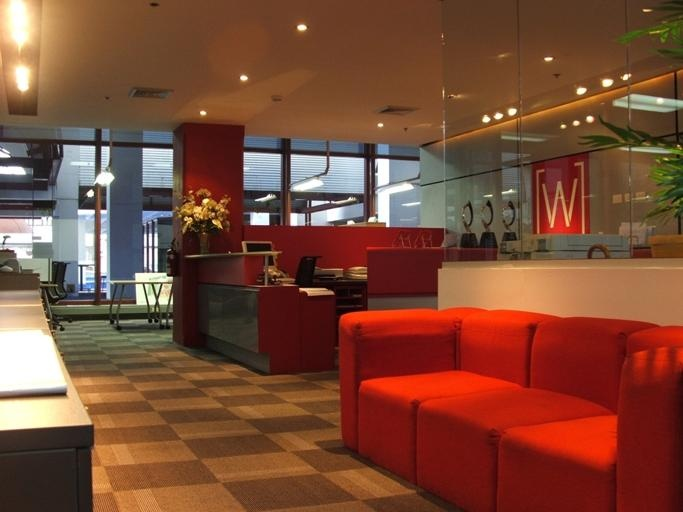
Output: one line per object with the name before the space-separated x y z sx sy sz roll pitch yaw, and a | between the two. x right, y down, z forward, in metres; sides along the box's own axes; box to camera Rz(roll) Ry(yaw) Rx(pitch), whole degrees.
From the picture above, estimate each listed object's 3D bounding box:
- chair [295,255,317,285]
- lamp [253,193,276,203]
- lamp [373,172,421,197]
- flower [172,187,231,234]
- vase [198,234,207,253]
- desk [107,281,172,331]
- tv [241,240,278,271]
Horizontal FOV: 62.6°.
chair | -0.518 0.214 7.836 0.258 0.410 0.535 0 -1 -5
lamp | -1.750 -1.329 12.953 0.388 0.146 0.211 -13 3 -5
lamp | 1.363 -1.660 13.412 0.754 0.177 0.537 -5 11 42
flower | -2.065 -0.680 8.456 0.731 0.593 0.725 0 5 17
vase | -2.073 -0.184 8.465 0.138 0.298 0.388 0 -1 -14
desk | -4.152 0.935 11.649 1.463 1.039 1.127 2 -3 -19
tv | -1.069 -0.002 7.185 0.421 0.438 0.036 2 -15 -22
